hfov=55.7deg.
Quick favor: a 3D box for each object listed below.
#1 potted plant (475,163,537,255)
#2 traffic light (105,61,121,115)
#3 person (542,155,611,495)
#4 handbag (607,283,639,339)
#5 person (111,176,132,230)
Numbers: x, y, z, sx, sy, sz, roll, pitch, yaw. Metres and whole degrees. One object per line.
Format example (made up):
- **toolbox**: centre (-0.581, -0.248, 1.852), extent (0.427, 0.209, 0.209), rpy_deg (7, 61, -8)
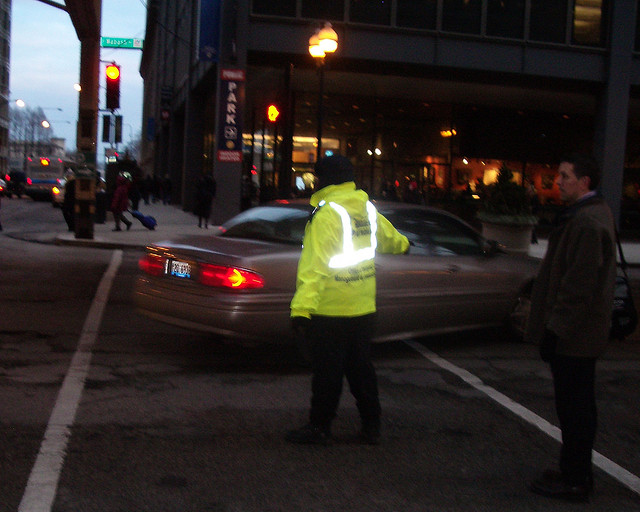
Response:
- **potted plant**: centre (4.660, -1.082, 15.118), extent (1.311, 2.246, 1.350), rpy_deg (-13, 13, -38)
- **traffic light**: centre (-5.427, -4.425, 15.878), extent (0.316, 1.371, 0.619), rpy_deg (-3, 8, -42)
- **person**: centre (1.536, 0.414, 3.651), extent (0.367, 2.031, 0.408), rpy_deg (6, 7, 29)
- **handbag**: centre (3.695, 0.704, 7.368), extent (0.277, 0.743, 0.520), rpy_deg (6, 7, 28)
- **person**: centre (-6.427, -1.711, 19.590), extent (0.596, 1.714, 1.561), rpy_deg (1, 6, -18)
